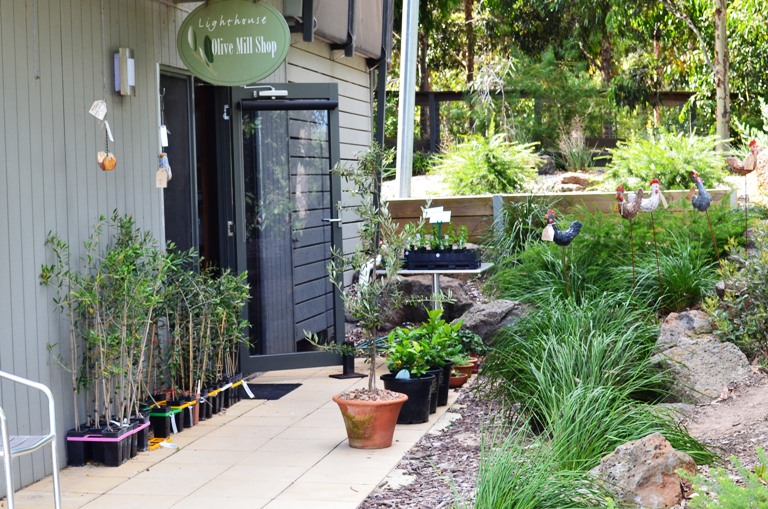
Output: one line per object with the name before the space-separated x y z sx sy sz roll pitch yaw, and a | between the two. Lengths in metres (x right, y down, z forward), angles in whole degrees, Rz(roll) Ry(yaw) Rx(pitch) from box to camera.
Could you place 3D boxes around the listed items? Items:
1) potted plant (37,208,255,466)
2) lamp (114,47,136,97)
potted plant | -1.877 0.570 6.777 0.767 1.530 1.762 -3 5 25
lamp | -2.173 -1.539 6.874 0.108 0.294 0.222 -2 5 40
